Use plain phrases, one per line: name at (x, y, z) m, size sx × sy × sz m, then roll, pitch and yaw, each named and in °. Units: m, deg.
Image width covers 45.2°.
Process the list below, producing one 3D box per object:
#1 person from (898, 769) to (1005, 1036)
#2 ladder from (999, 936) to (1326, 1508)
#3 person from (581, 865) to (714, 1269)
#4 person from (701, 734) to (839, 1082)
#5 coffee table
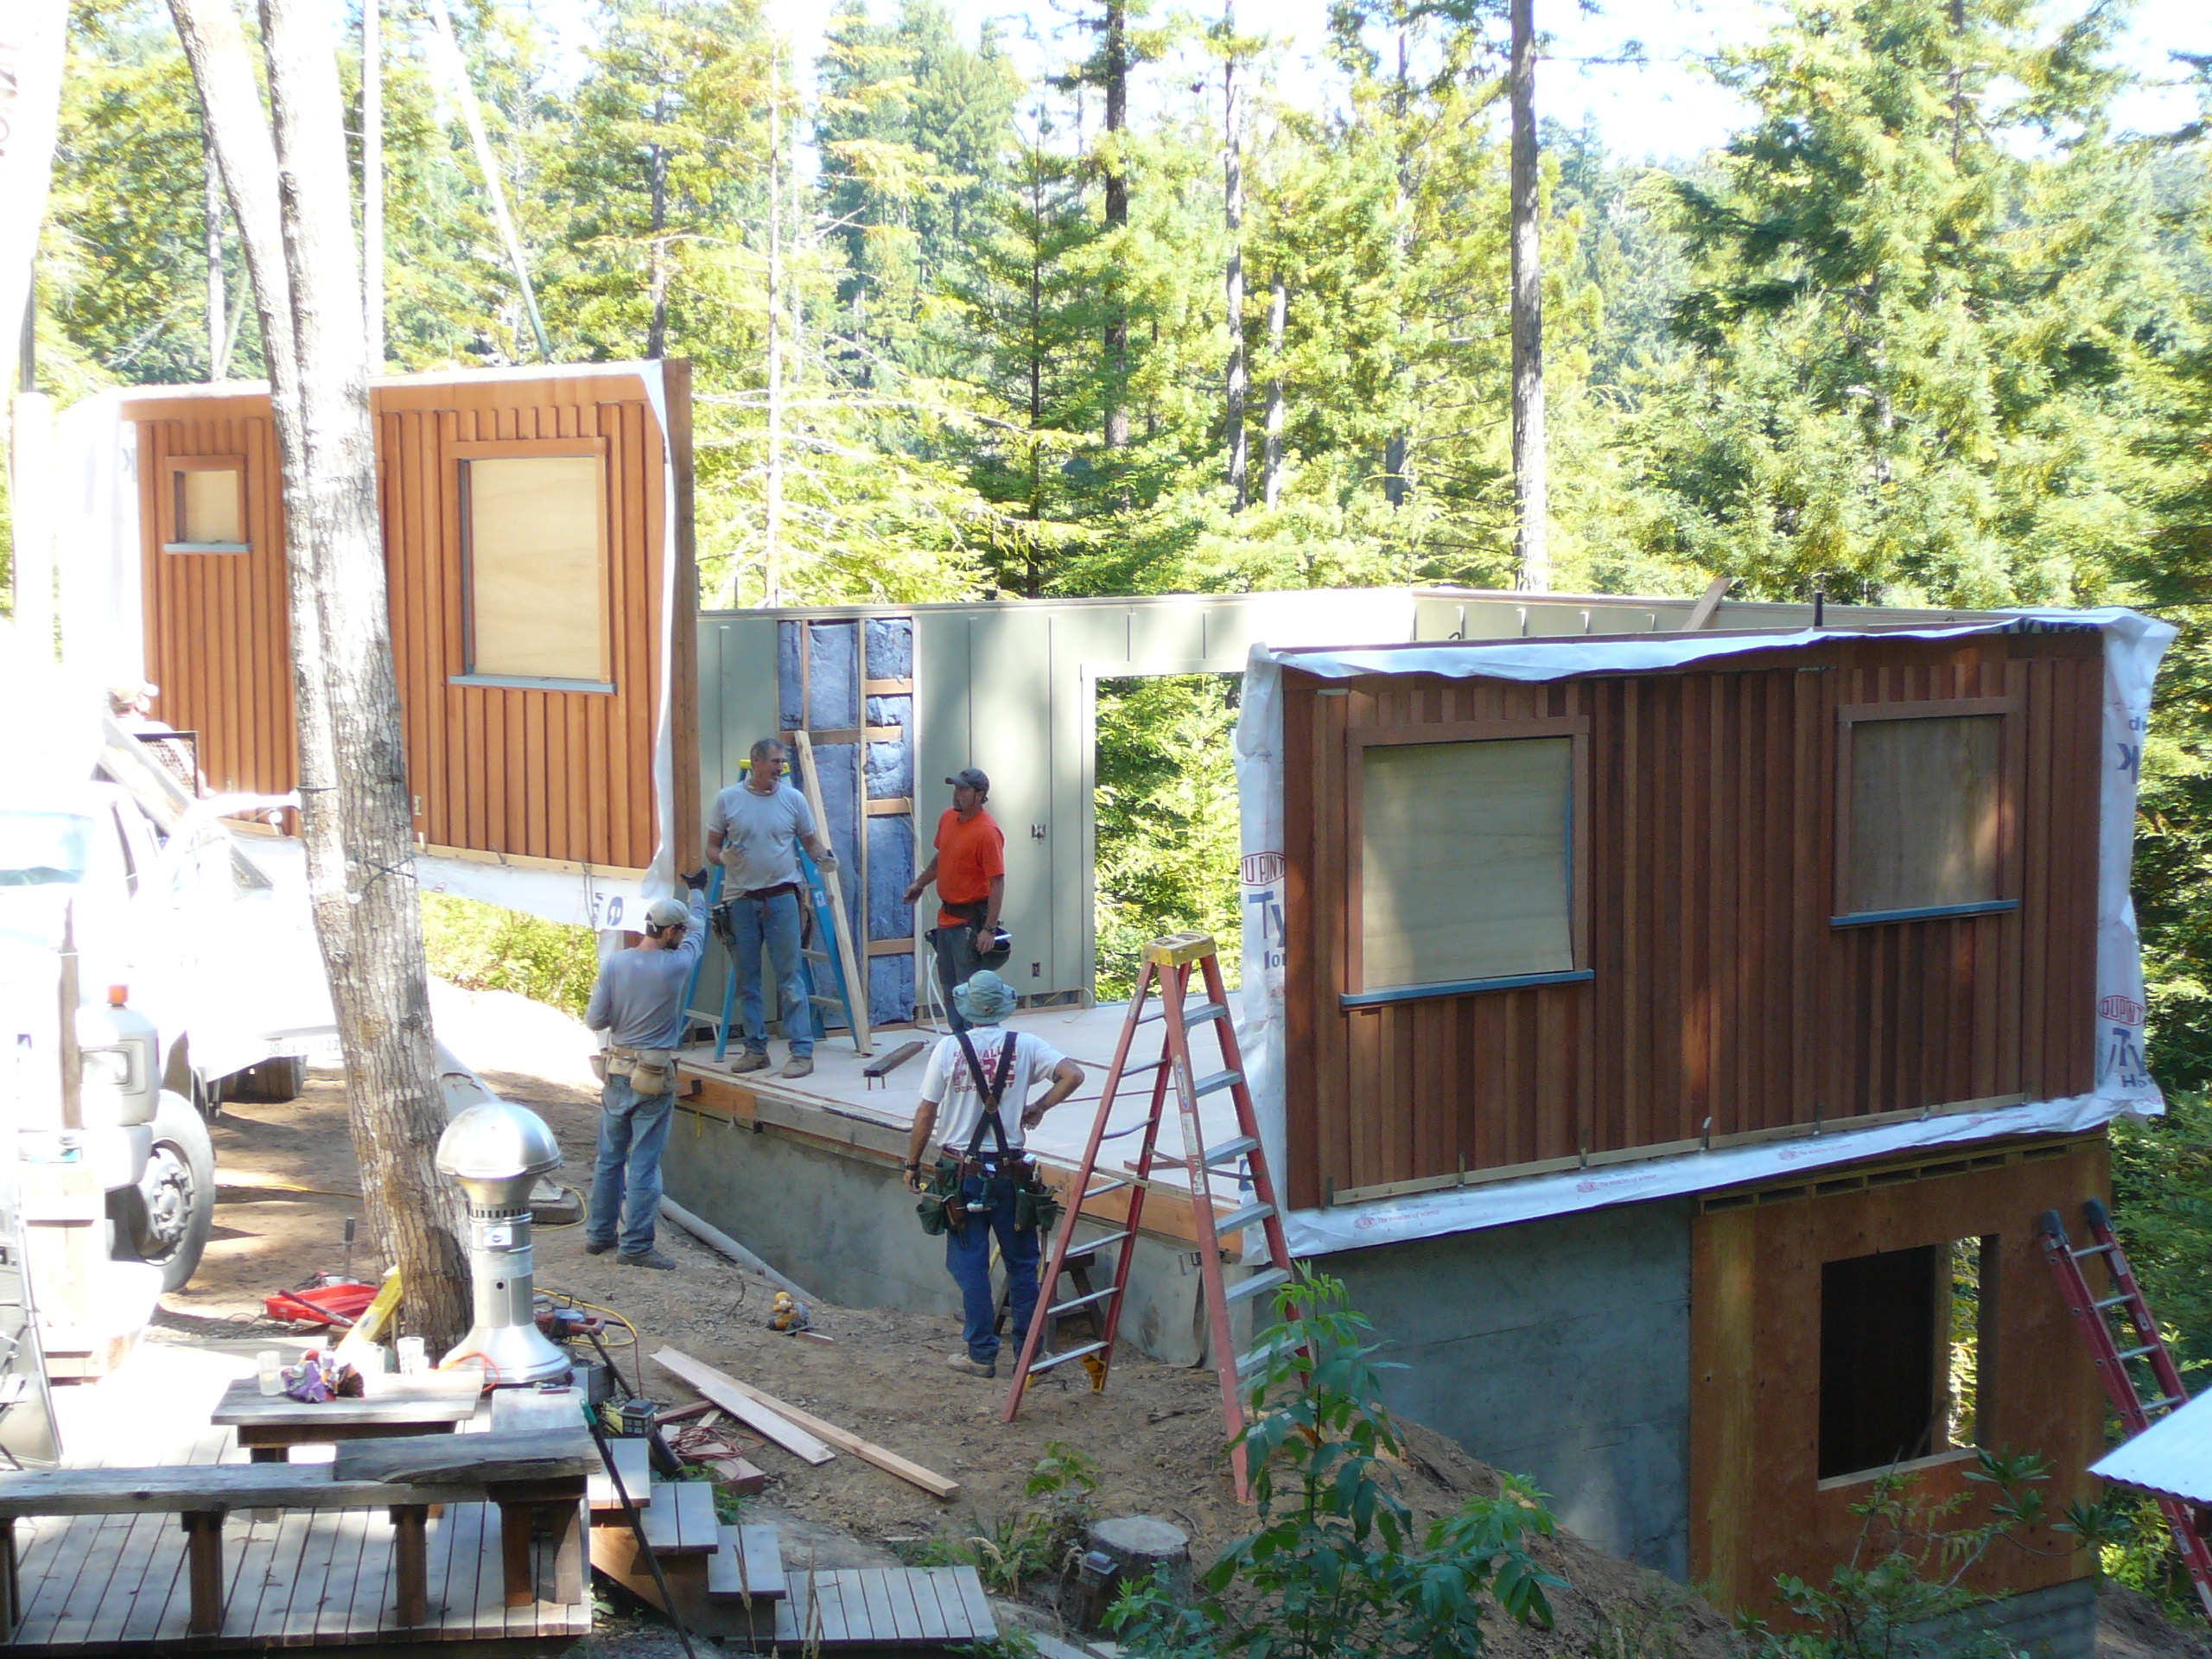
person at (-1.036, 0.480, 17.190) m, size 0.603 × 2.149 × 0.801 m, roll -13°, pitch 33°, yaw -34°
ladder at (0.332, 1.908, 14.193) m, size 1.350 × 2.813 × 1.305 m, roll 17°, pitch 15°, yaw 28°
person at (-2.681, 1.435, 15.271) m, size 0.658 × 2.088 × 0.778 m, roll -3°, pitch 5°, yaw -13°
person at (-2.171, 0.475, 17.009) m, size 0.713 × 2.142 × 0.789 m, roll 0°, pitch 0°, yaw -23°
coffee table at (-3.206, 2.413, 11.220) m, size 1.150 × 0.542 × 1.068 m, roll 4°, pitch 5°, yaw -23°
